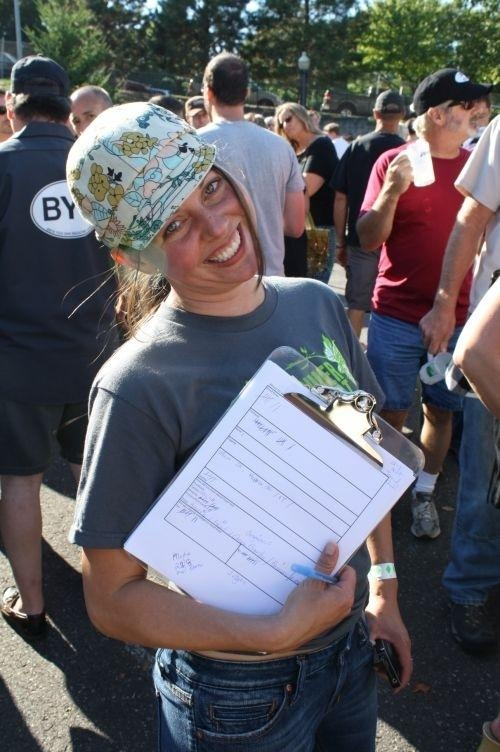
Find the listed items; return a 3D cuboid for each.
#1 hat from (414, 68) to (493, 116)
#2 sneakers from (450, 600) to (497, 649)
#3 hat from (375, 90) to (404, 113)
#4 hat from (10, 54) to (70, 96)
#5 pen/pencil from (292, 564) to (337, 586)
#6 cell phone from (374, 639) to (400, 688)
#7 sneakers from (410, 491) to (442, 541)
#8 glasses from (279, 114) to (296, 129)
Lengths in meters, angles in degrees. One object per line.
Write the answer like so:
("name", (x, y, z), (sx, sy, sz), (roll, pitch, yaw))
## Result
("hat", (0.908, -1.276, 3.004), (0.330, 0.178, 0.207), (-18, 28, 26))
("sneakers", (0.863, 0.977, 2.513), (0.157, 0.100, 0.182), (-1, 28, 1))
("hat", (1.082, -2.096, 5.044), (0.185, 0.144, 0.261), (7, 55, 8))
("hat", (-0.822, -1.185, 2.570), (0.178, 0.141, 0.235), (-2, 43, -20))
("pen/pencil", (0.098, 0.319, 1.049), (0.090, 0.029, 0.025), (9, 4, -3))
("cell phone", (0.297, 0.615, 1.399), (0.030, 0.096, 0.062), (-20, -15, 16))
("sneakers", (0.843, 0.695, 3.172), (0.111, 0.121, 0.267), (-4, 46, 8))
("glasses", (0.308, -2.052, 5.259), (0.108, 0.138, 0.090), (-10, 9, 32))
